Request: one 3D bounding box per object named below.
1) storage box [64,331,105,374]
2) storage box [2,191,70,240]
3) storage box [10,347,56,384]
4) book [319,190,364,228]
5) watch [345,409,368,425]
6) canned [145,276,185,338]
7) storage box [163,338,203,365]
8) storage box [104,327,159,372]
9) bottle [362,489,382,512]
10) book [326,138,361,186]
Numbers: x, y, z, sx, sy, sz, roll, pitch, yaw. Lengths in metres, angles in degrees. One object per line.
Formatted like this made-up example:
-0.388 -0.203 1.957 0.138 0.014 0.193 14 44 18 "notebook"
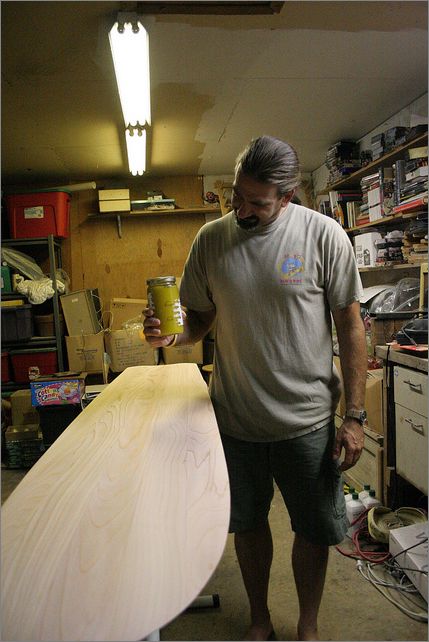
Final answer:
-1.144 0.269 4.310 0.437 0.449 0.327 0 -1 -6 "storage box"
-1.562 -0.930 4.080 0.356 0.348 0.514 1 5 5 "storage box"
-1.550 0.378 4.101 0.418 0.316 0.292 -3 -2 -9 "storage box"
1.057 -0.884 3.781 0.299 0.125 0.409 2 7 -4 "book"
0.373 0.246 1.199 0.052 0.034 0.051 25 -27 -33 "watch"
-0.125 -0.036 1.197 0.097 0.159 0.072 -4 9 -16 "canned"
-0.290 0.312 4.329 0.394 0.396 0.290 -1 6 -3 "storage box"
-0.726 0.217 4.446 0.495 0.385 0.500 -7 9 1 "storage box"
0.737 0.842 2.151 0.075 0.144 0.076 -1 4 0 "bottle"
1.020 -1.244 3.599 0.347 0.343 0.196 -3 -31 8 "book"
